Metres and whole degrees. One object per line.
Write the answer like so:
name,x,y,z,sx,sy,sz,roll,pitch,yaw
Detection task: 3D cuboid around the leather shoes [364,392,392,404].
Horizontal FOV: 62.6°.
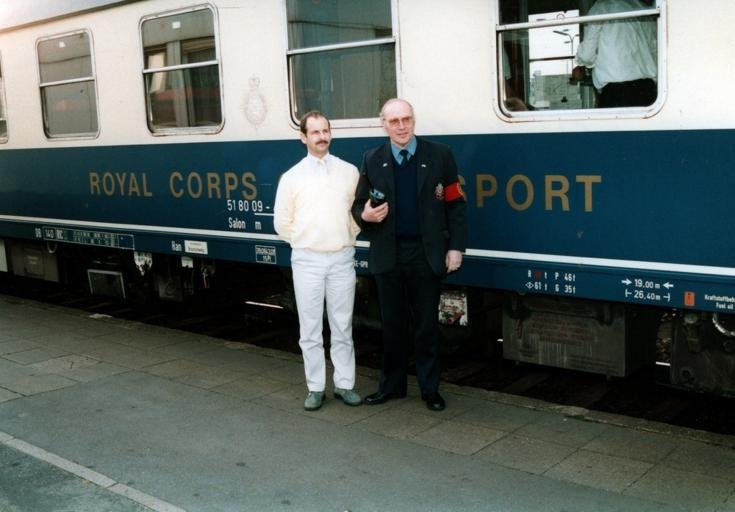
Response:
leather shoes,0.069,1.216,5.212,0.180,0.076,0.097,3,-1,-30

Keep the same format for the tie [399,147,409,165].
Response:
tie,0.272,-0.774,4.758,0.091,0.102,0.026,6,12,23

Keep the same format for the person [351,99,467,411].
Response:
person,0.324,0.033,4.939,0.879,2.537,0.458,-1,7,-7

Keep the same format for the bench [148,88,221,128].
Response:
bench,-1.991,-1.660,6.630,0.978,0.539,0.051,3,9,21

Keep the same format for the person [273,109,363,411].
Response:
person,-0.401,0.073,5.026,0.689,2.491,0.271,-2,7,-10

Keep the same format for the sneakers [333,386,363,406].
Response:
sneakers,-0.169,1.225,5.270,0.240,0.118,0.117,4,7,40
